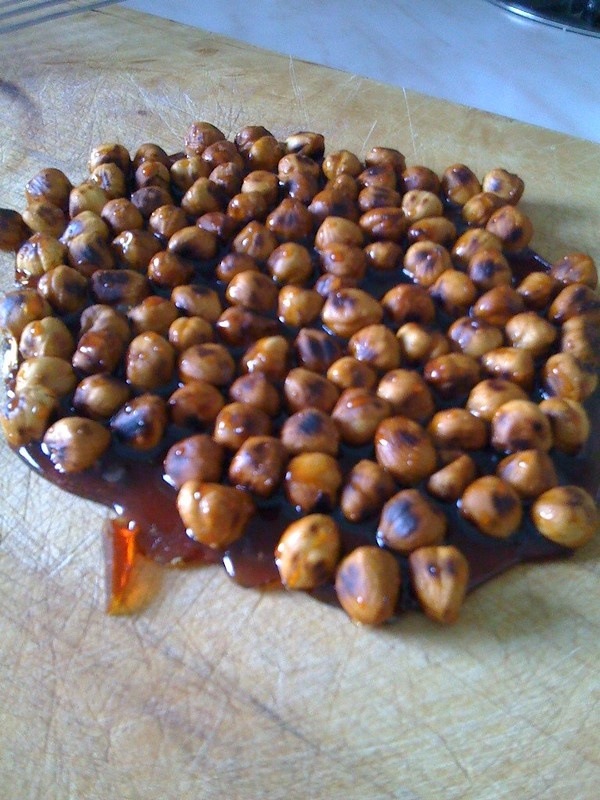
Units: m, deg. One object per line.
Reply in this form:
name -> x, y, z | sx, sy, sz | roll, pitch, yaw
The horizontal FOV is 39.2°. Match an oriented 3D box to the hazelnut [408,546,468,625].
hazelnut -> 0.112, 0.145, 0.659 | 0.051, 0.030, 0.055 | -1, 66, 7

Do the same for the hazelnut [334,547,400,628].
hazelnut -> 0.052, 0.144, 0.661 | 0.054, 0.050, 0.058 | -5, 82, 7
